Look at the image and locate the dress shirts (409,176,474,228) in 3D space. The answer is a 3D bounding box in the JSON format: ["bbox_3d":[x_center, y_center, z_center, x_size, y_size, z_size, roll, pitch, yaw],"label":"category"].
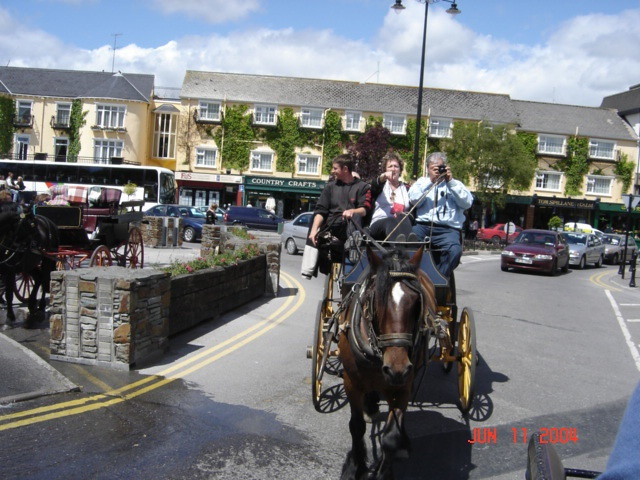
[{"bbox_3d":[1.782,-0.576,8.497,0.810,0.969,0.709,10,-3,18],"label":"dress shirts"}]

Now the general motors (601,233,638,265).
[{"bbox_3d":[17.073,0.572,33.051,2.770,1.534,1.669,1,-2,-31],"label":"general motors"}]

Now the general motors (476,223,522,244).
[{"bbox_3d":[12.145,-0.363,39.424,2.606,1.062,1.316,-6,8,-8],"label":"general motors"}]

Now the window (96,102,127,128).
[{"bbox_3d":[-18.736,-11.229,51.931,1.954,2.105,0.231,1,-2,2],"label":"window"}]

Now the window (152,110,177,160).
[{"bbox_3d":[-14.158,-9.448,52.455,2.468,4.142,0.559,5,6,23],"label":"window"}]

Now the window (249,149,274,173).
[{"bbox_3d":[-5.343,-7.206,51.882,1.700,1.832,0.558,0,3,-7],"label":"window"}]

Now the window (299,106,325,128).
[{"bbox_3d":[-0.678,-10.922,51.406,1.586,1.692,0.232,2,-1,0],"label":"window"}]

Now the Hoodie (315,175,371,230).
[{"bbox_3d":[0.399,-0.541,8.717,0.796,0.999,0.637,0,-30,8],"label":"Hoodie"}]

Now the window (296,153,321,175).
[{"bbox_3d":[-1.111,-6.811,51.803,1.568,1.692,0.518,1,1,1],"label":"window"}]

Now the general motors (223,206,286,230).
[{"bbox_3d":[-4.394,-1.430,37.645,3.199,1.429,1.702,-3,6,-21],"label":"general motors"}]

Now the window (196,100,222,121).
[{"bbox_3d":[-9.952,-11.543,51.287,1.481,1.596,0.127,3,-2,-6],"label":"window"}]

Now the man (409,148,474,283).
[{"bbox_3d":[1.732,-0.255,8.371,1.023,2.258,0.947,10,-14,-40],"label":"man"}]

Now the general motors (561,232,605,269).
[{"bbox_3d":[13.596,0.489,29.938,1.734,1.536,3.094,-2,-4,41],"label":"general motors"}]

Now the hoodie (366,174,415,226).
[{"bbox_3d":[1.049,-0.494,8.632,0.591,0.964,0.458,12,-7,-11],"label":"hoodie"}]

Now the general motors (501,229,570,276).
[{"bbox_3d":[9.262,0.551,24.694,1.913,1.864,3.408,8,7,42],"label":"general motors"}]

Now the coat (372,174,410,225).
[{"bbox_3d":[1.028,-0.573,8.453,0.435,0.742,0.472,5,-26,15],"label":"coat"}]

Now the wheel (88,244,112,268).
[{"bbox_3d":[-4.827,0.328,12.598,0.378,0.491,0.440,1,3,4],"label":"wheel"}]

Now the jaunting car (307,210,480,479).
[{"bbox_3d":[0.887,1.238,6.909,1.409,2.100,3.280,2,-7,7],"label":"jaunting car"}]

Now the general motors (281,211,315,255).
[{"bbox_3d":[-1.030,-0.228,24.862,1.960,1.168,1.269,-1,5,26],"label":"general motors"}]

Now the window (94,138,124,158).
[{"bbox_3d":[-18.970,-8.354,51.919,2.909,3.090,0.369,3,3,8],"label":"window"}]

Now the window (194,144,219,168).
[{"bbox_3d":[-10.154,-7.564,51.598,1.673,1.930,0.271,3,1,-1],"label":"window"}]

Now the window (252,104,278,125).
[{"bbox_3d":[-4.954,-11.267,51.528,1.501,1.592,0.229,3,0,-2],"label":"window"}]
